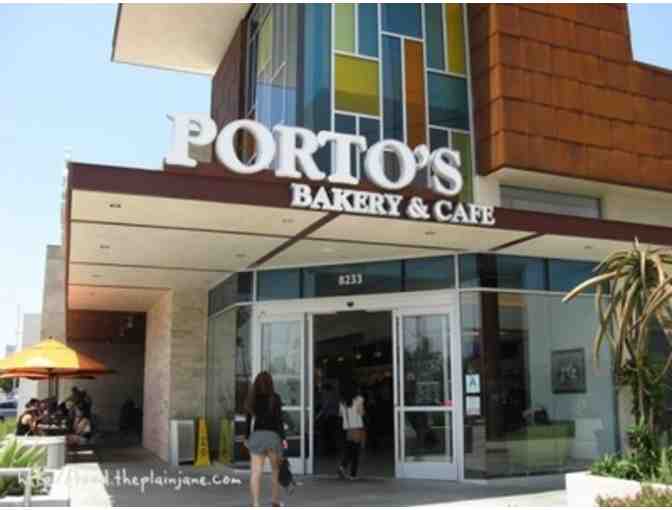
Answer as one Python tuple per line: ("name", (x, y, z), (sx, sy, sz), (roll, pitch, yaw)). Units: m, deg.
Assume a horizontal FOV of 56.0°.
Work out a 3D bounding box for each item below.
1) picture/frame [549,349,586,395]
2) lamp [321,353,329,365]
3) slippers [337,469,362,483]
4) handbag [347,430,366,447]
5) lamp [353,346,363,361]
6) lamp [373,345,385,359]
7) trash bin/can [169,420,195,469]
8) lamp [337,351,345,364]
("picture/frame", (4.884, 2.482, 13.434), (0.856, 1.102, 0.077), (3, -11, -16))
("lamp", (-0.442, 4.168, 25.338), (0.212, 0.317, 0.318), (1, -3, 18))
("slippers", (0.286, 4.525, 13.099), (0.624, 0.288, 0.216), (8, -12, -33))
("handbag", (0.410, 3.693, 12.795), (0.407, 0.421, 0.248), (2, -3, 6))
("lamp", (0.849, 3.884, 24.990), (0.447, 0.541, 0.466), (0, -8, 6))
("lamp", (1.560, 3.528, 23.276), (0.416, 0.508, 0.464), (1, -4, -8))
("trash bin/can", (-3.853, 4.703, 15.938), (0.617, 1.053, 0.466), (1, -9, -12))
("lamp", (0.193, 4.111, 25.550), (0.287, 0.411, 0.418), (5, -12, -20))
